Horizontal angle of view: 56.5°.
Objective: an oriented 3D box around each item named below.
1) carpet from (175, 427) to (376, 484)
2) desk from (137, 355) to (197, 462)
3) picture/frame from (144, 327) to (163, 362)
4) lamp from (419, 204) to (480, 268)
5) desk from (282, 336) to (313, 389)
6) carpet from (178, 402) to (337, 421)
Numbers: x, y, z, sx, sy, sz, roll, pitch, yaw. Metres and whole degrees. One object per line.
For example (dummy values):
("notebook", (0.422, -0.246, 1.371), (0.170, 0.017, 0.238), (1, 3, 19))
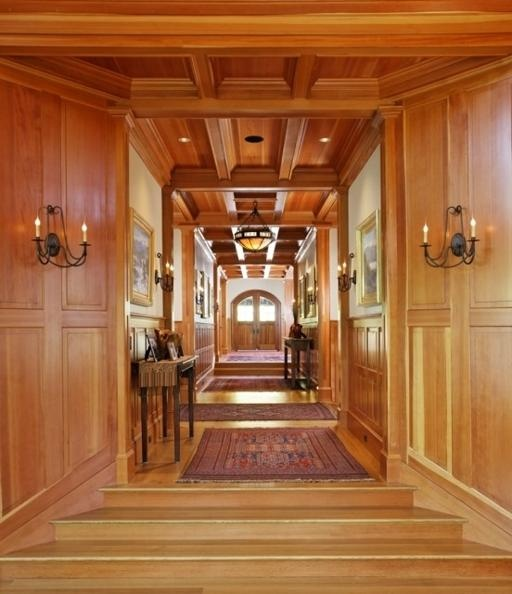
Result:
("carpet", (0.164, 1.531, 4.770), (1.568, 0.137, 1.953), (-2, -2, 0))
("desk", (-0.918, 1.145, 4.831), (0.400, 0.984, 1.083), (0, -1, -2))
("picture/frame", (-1.020, 0.479, 4.719), (0.117, 0.287, 0.296), (-1, -2, 1))
("lamp", (1.409, -0.434, 3.440), (0.205, 0.529, 0.419), (7, -8, -36))
("desk", (0.905, 1.423, 10.284), (0.346, 0.790, 1.226), (1, -2, 0))
("carpet", (0.021, 1.691, 7.060), (2.110, 0.105, 1.416), (-2, -2, -1))
